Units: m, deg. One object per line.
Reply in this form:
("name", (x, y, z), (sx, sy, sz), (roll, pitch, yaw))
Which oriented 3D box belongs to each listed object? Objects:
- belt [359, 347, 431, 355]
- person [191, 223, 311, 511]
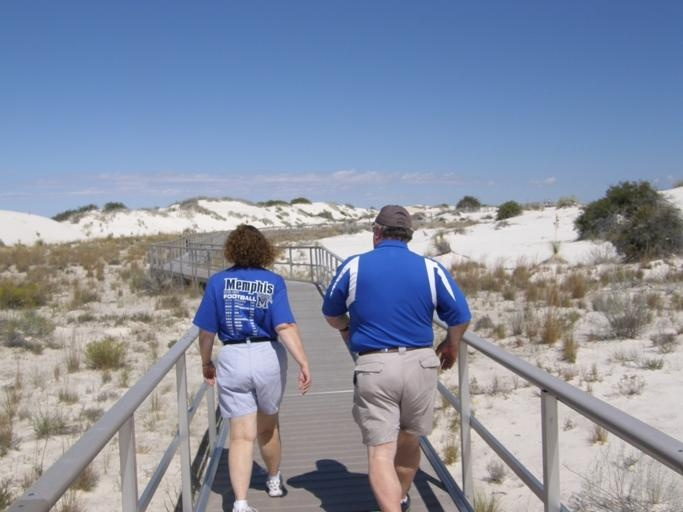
("belt", (0.361, 0.666, 4.119), (0.470, 0.050, 0.066), (-4, 0, 2))
("person", (-0.701, 0.852, 4.593), (0.857, 2.227, 0.473), (-3, 0, -9))
